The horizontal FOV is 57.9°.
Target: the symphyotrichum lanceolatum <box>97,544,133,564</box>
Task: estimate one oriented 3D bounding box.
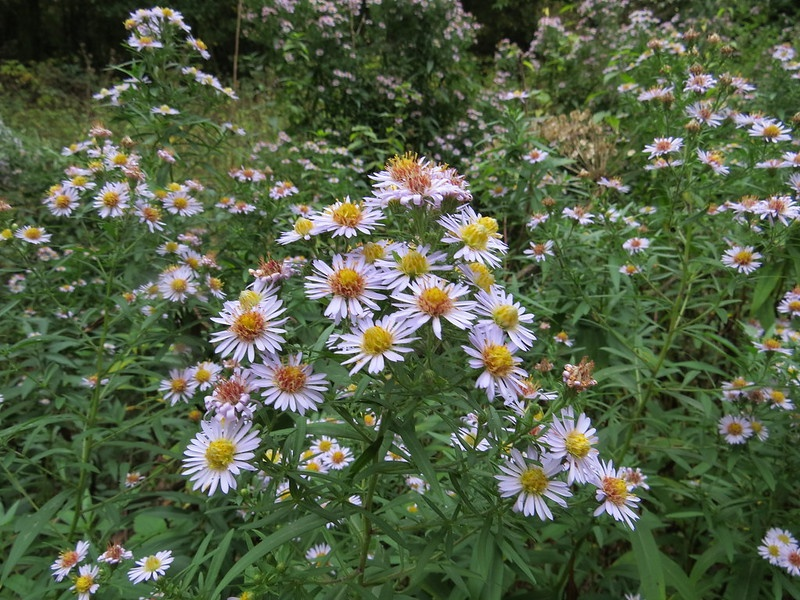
[{"bbox_3d":[-1.651,1.471,4.196,0.119,0.130,0.081,-4,79,3],"label":"symphyotrichum lanceolatum"}]

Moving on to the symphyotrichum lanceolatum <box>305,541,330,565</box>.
[{"bbox_3d":[-0.480,1.469,4.211,0.132,0.060,0.145,-3,16,0],"label":"symphyotrichum lanceolatum"}]

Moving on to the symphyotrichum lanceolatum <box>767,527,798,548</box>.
[{"bbox_3d":[2.193,1.361,4.158,0.103,0.038,0.110,22,37,38],"label":"symphyotrichum lanceolatum"}]
